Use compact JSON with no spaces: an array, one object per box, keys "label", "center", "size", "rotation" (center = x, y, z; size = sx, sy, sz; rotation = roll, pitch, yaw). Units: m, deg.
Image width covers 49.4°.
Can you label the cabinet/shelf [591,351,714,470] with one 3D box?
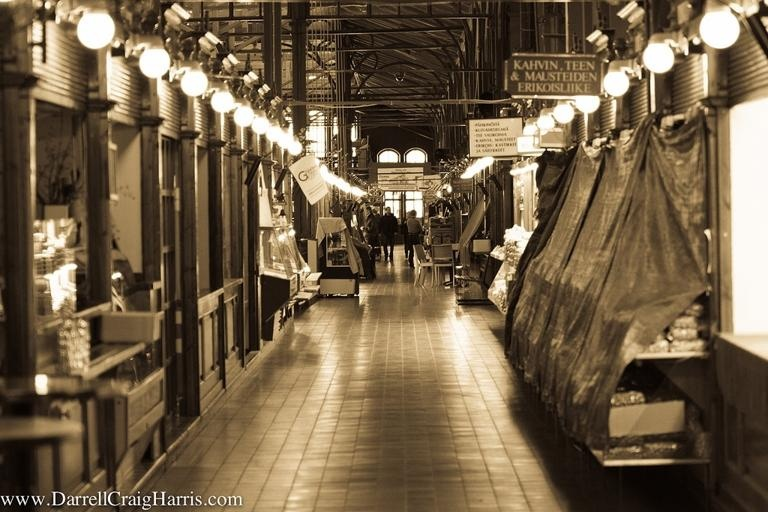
[{"label":"cabinet/shelf","center":[1.987,0.996,6.448],"size":[0.759,0.864,0.901],"rotation":[-7,46,18]}]

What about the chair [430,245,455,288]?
[{"label":"chair","center":[1.383,0.149,19.269],"size":[0.554,0.982,0.644],"rotation":[2,11,24]}]
